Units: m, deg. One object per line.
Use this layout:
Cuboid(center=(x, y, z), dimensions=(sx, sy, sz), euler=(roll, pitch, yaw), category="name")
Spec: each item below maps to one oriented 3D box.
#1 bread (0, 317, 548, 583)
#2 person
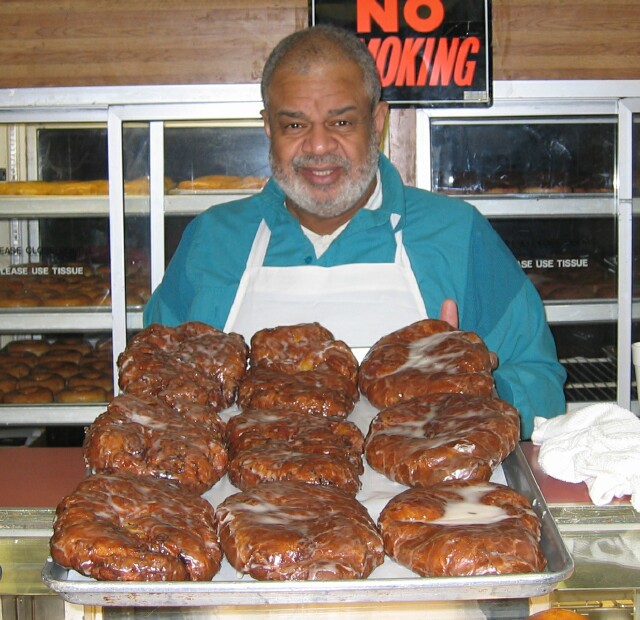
Cuboid(center=(-0.026, 0.224, 1.423), dimensions=(0.822, 0.303, 0.848), euler=(1, 5, 12), category="bread")
Cuboid(center=(0.020, -0.139, 2.419), dimensions=(1.448, 1.105, 0.701), euler=(7, 22, 21), category="person")
